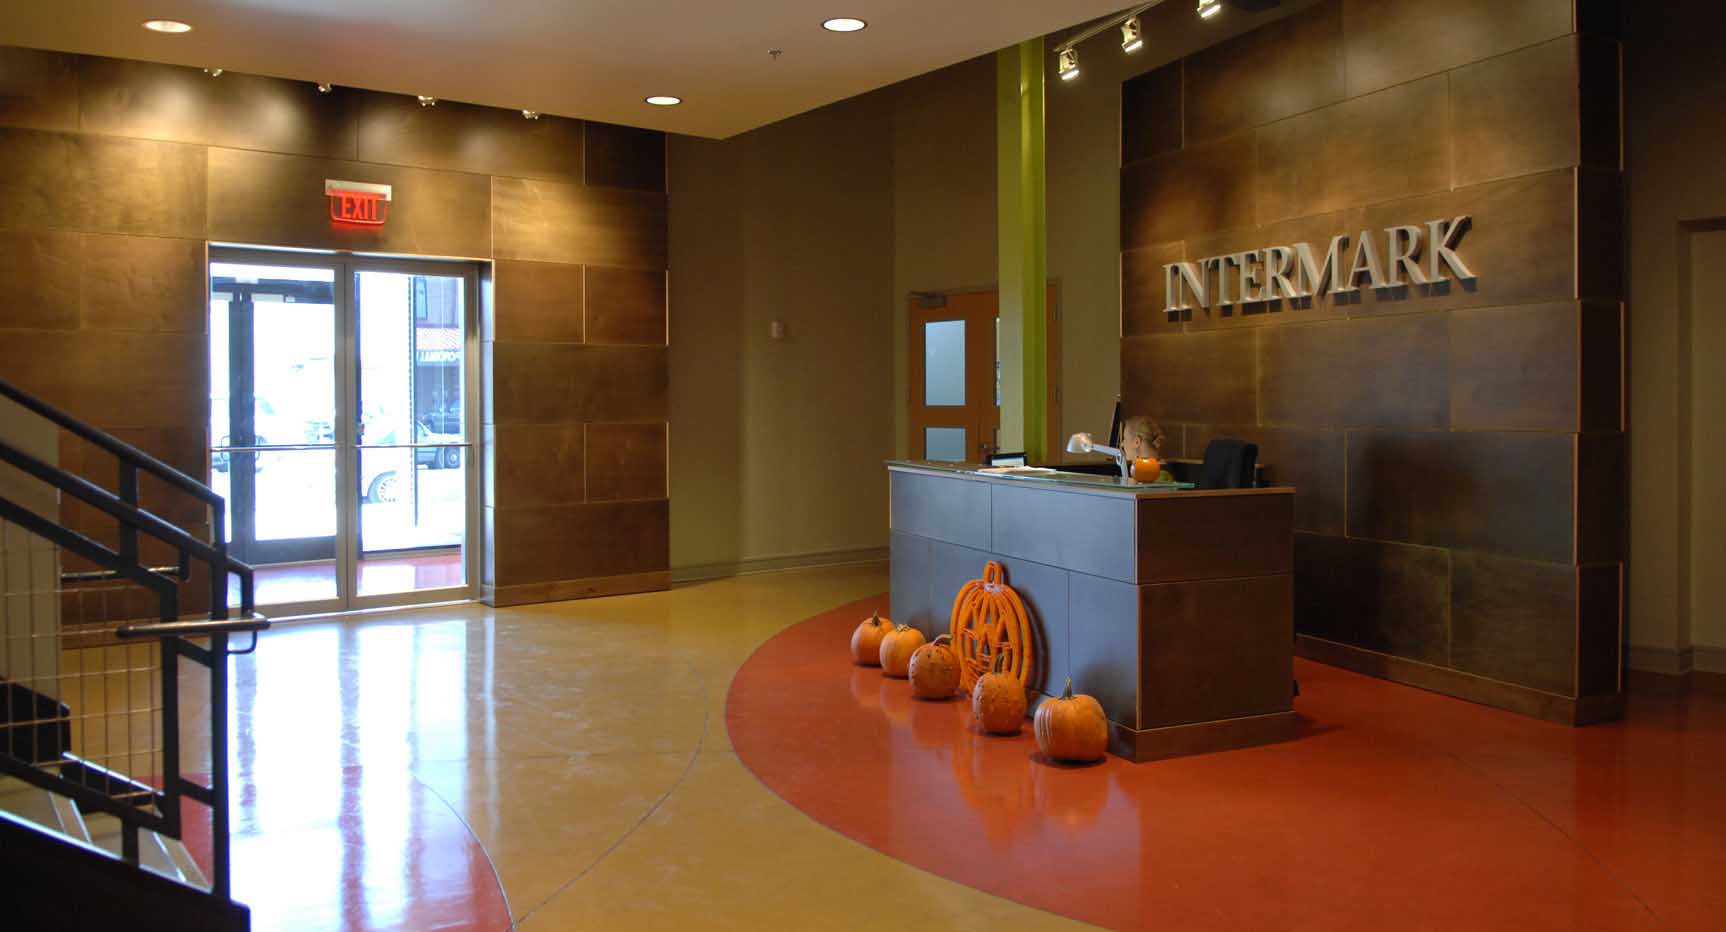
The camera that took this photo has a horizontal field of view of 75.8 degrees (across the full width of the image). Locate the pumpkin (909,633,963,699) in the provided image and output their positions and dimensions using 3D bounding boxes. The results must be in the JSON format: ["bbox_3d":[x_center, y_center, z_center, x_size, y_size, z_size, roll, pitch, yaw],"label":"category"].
[{"bbox_3d":[0.603,1.641,8.879,0.314,0.421,0.460,0,5,44],"label":"pumpkin"}]

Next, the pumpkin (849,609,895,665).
[{"bbox_3d":[0.108,1.506,9.753,0.434,0.531,0.411,1,3,23],"label":"pumpkin"}]

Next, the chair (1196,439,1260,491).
[{"bbox_3d":[2.925,-0.007,8.681,0.484,0.462,0.442,-1,0,-32],"label":"chair"}]

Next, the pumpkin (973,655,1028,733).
[{"bbox_3d":[1.022,1.763,8.299,0.427,0.438,0.333,-3,3,5],"label":"pumpkin"}]

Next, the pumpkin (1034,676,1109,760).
[{"bbox_3d":[1.502,1.833,7.907,0.510,0.399,0.465,-8,2,0],"label":"pumpkin"}]

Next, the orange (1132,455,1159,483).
[{"bbox_3d":[2.102,0.022,8.250,0.180,0.126,0.182,-1,-2,13],"label":"orange"}]

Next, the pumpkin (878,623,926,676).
[{"bbox_3d":[0.297,1.522,9.205,0.403,0.350,0.388,-5,0,22],"label":"pumpkin"}]
